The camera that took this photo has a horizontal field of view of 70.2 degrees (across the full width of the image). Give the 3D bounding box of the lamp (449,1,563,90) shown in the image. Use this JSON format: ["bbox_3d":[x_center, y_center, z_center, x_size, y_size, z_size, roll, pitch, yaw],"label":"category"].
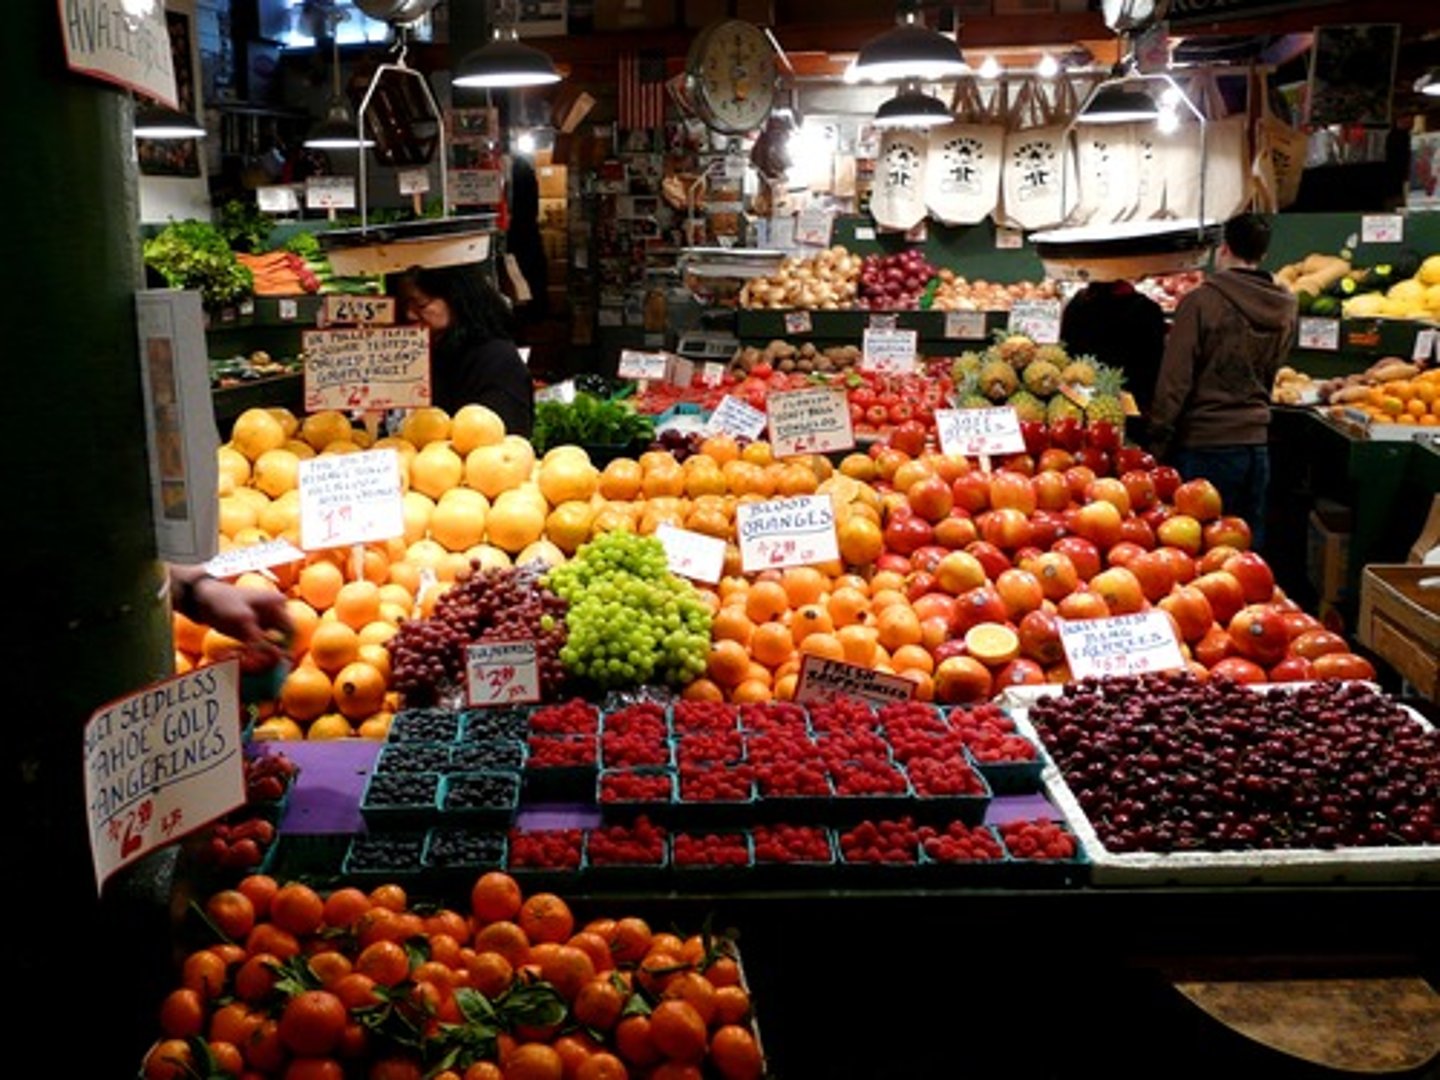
[{"bbox_3d":[-1.113,-2.424,5.201,0.486,0.313,0.493,-4,16,-10],"label":"lamp"}]

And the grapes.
[{"bbox_3d":[-0.462,0.222,3.040,0.662,0.315,0.510,1,9,8],"label":"grapes"}]

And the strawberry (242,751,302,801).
[{"bbox_3d":[-1.122,0.584,2.555,0.106,0.061,0.126,1,-3,4],"label":"strawberry"}]

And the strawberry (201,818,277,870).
[{"bbox_3d":[-1.087,0.691,2.353,0.084,0.035,0.107,0,12,9],"label":"strawberry"}]

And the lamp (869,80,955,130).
[{"bbox_3d":[1.145,-2.613,6.207,0.522,0.262,0.521,-1,18,-1],"label":"lamp"}]

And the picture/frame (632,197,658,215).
[{"bbox_3d":[-0.827,-3.608,11.047,0.194,0.190,0.046,2,12,12],"label":"picture/frame"}]

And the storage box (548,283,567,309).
[{"bbox_3d":[-1.910,-2.877,12.026,0.268,0.380,0.267,-4,10,-4],"label":"storage box"}]
